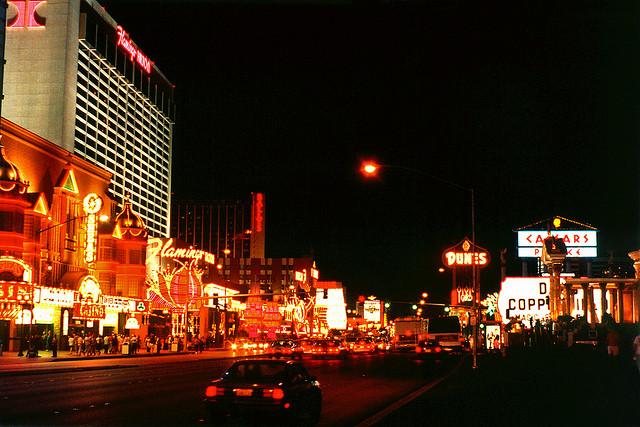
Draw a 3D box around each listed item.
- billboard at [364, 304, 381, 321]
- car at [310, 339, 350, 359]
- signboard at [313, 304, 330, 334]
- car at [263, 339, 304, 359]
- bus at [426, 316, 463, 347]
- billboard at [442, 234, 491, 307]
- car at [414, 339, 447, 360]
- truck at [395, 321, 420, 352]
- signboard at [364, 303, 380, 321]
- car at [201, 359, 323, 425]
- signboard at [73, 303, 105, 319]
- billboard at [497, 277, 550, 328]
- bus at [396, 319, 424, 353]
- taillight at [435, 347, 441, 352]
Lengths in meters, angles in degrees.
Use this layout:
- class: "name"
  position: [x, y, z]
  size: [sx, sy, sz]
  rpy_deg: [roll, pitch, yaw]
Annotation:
- class: "billboard"
  position: [12.982, 24.500, 190.150]
  size: [5.448, 5.527, 2.924]
  rpy_deg: [0, 11, -5]
- class: "car"
  position: [0.723, 12.000, 67.794]
  size: [3.054, 1.783, 1.600]
  rpy_deg: [0, -16, -2]
- class: "signboard"
  position: [0.856, 23.443, 169.868]
  size: [1.456, 5.961, 6.140]
  rpy_deg: [9, -5, -41]
- class: "car"
  position: [-3.119, 11.594, 65.557]
  size: [2.363, 1.936, 5.050]
  rpy_deg: [-4, -17, 12]
- class: "bus"
  position: [11.497, 12.058, 75.616]
  size: [3.910, 3.444, 6.663]
  rpy_deg: [-2, -12, -1]
- class: "billboard"
  position: [14.048, 5.819, 72.623]
  size: [4.837, 7.484, 0.378]
  rpy_deg: [-2, -4, 32]
- class: "car"
  position: [9.747, 11.992, 67.489]
  size: [2.492, 2.147, 3.692]
  rpy_deg: [-2, -17, 8]
- class: "truck"
  position: [9.482, 12.901, 84.647]
  size: [3.064, 3.377, 5.374]
  rpy_deg: [-1, 0, 1]
- class: "signboard"
  position: [12.864, 24.281, 190.272]
  size: [3.565, 3.988, 8.310]
  rpy_deg: [-2, -17, 5]
- class: "car"
  position: [-2.325, 7.017, 30.329]
  size: [4.448, 2.561, 2.106]
  rpy_deg: [3, -16, -9]
- class: "signboard"
  position: [-23.519, 9.764, 77.114]
  size: [0.589, 1.855, 4.426]
  rpy_deg: [-7, -18, 23]
- class: "billboard"
  position: [22.666, 9.443, 84.876]
  size: [5.166, 4.771, 1.494]
  rpy_deg: [-3, -16, 9]
- class: "bus"
  position: [9.924, 14.214, 84.635]
  size: [3.278, 3.748, 6.060]
  rpy_deg: [-4, -28, 12]
- class: "taillight"
  position: [10.263, 11.789, 66.497]
  size: [0.344, 0.415, 0.334]
  rpy_deg: [-1, 24, -43]
